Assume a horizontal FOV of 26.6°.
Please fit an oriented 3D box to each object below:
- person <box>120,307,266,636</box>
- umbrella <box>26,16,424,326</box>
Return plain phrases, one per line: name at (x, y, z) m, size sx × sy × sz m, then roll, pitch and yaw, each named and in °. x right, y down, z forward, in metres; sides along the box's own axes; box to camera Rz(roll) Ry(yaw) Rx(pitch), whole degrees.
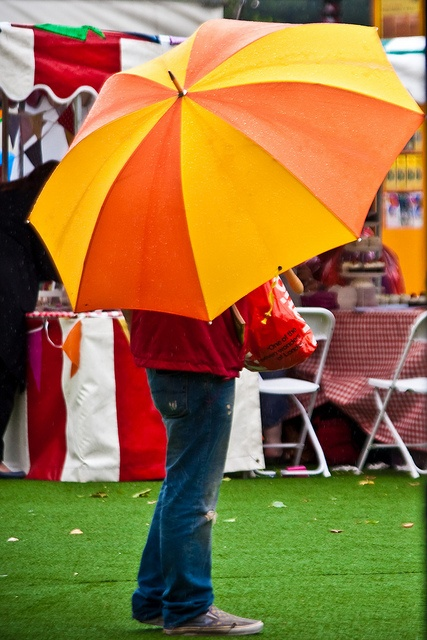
person at (-0.069, 0.433, 2.513) m, size 0.388 × 0.966 × 0.287 m, roll 0°, pitch 1°, yaw 2°
umbrella at (0.029, -0.392, 2.193) m, size 0.946 × 0.784 × 0.482 m, roll 0°, pitch 1°, yaw -5°
